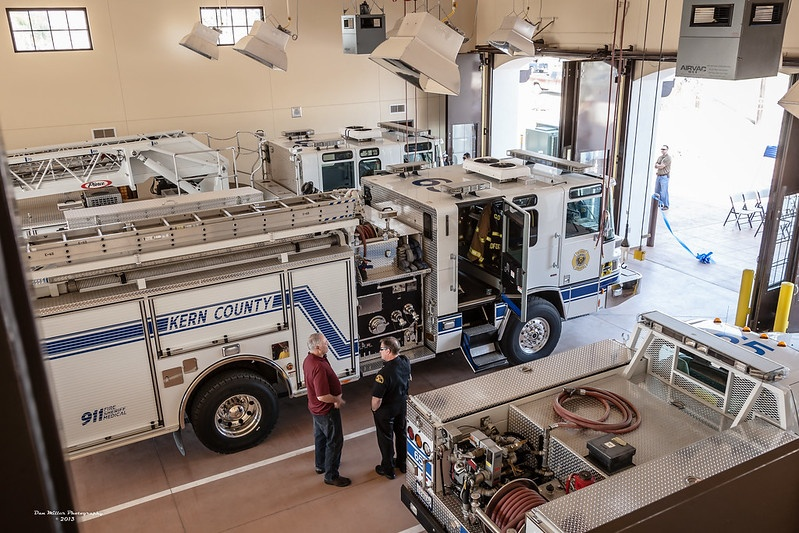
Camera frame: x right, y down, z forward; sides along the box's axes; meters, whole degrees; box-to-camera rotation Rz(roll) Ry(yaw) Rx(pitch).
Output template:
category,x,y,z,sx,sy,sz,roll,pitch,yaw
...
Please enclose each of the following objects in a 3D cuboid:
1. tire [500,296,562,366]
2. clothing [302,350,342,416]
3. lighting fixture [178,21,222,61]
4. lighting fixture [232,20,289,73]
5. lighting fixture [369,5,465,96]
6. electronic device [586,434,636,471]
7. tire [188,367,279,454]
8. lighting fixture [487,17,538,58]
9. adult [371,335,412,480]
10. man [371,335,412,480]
category,x,y,z,sx,sy,sz,roll,pitch,yaw
tire,1.903,0.938,7.961,0.870,0.863,0.302,-21,24,-29
clothing,-0.885,1.276,6.106,0.372,0.649,0.649,-7,11,-23
lighting fixture,-3.959,-4.553,10.744,0.288,0.536,0.763,31,13,30
lighting fixture,-2.376,-3.958,9.542,0.925,0.565,0.505,10,20,-49
lighting fixture,0.169,-2.000,5.072,0.834,0.728,0.584,-1,23,5
electronic device,1.814,1.550,4.558,0.283,0.167,0.276,-10,21,-26
tire,-2.066,1.762,6.598,1.098,1.081,0.383,3,15,-29
lighting fixture,2.387,-4.768,11.112,1.034,0.748,0.574,-17,26,-31
adult,-0.107,1.628,6.130,0.474,1.788,0.392,-4,23,-2
man,-0.107,1.630,6.125,0.474,1.788,0.405,-4,23,-1
